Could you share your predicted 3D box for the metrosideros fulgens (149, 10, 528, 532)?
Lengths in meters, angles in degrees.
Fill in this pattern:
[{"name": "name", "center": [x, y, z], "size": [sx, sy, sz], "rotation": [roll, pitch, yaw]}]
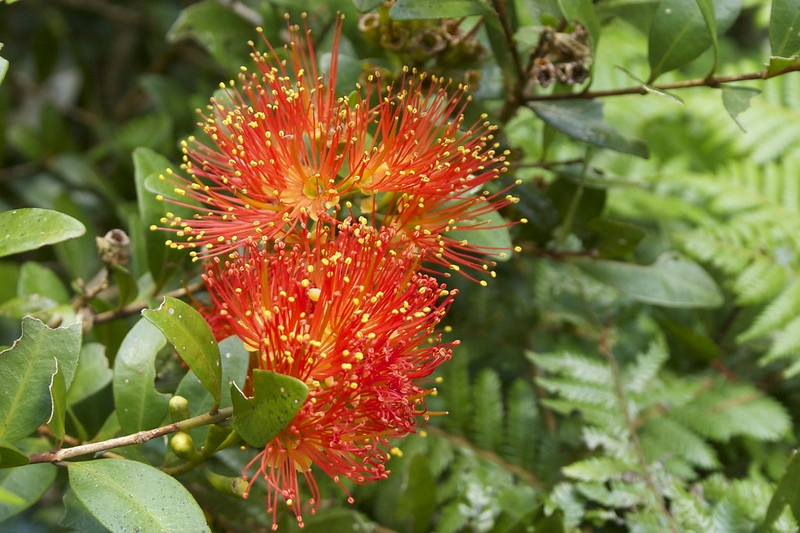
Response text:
[{"name": "metrosideros fulgens", "center": [-0.165, -0.008, 2.313], "size": [0.880, 0.799, 1.239], "rotation": [-8, 78, -14]}]
